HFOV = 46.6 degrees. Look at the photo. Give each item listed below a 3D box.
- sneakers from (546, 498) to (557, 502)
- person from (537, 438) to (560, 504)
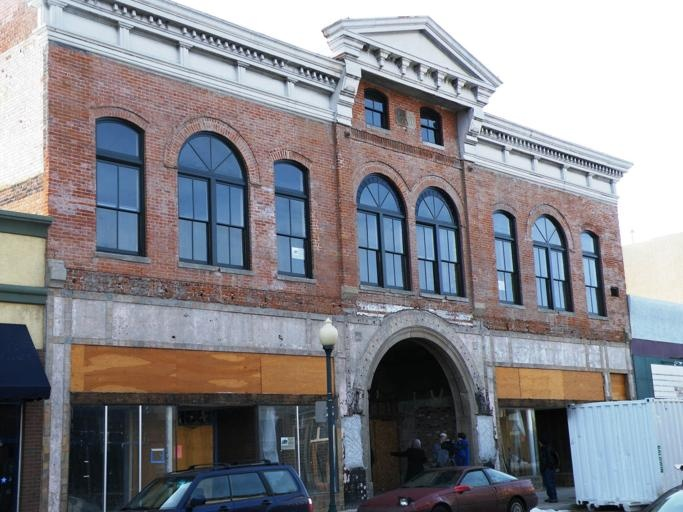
[{"bbox_3d":[6.606,7.743,25.062,0.329,0.136,0.121,-10,-13,26],"label":"sneakers"},{"bbox_3d":[6.770,7.005,25.832,0.535,1.987,1.587,-8,-18,12],"label":"person"}]
